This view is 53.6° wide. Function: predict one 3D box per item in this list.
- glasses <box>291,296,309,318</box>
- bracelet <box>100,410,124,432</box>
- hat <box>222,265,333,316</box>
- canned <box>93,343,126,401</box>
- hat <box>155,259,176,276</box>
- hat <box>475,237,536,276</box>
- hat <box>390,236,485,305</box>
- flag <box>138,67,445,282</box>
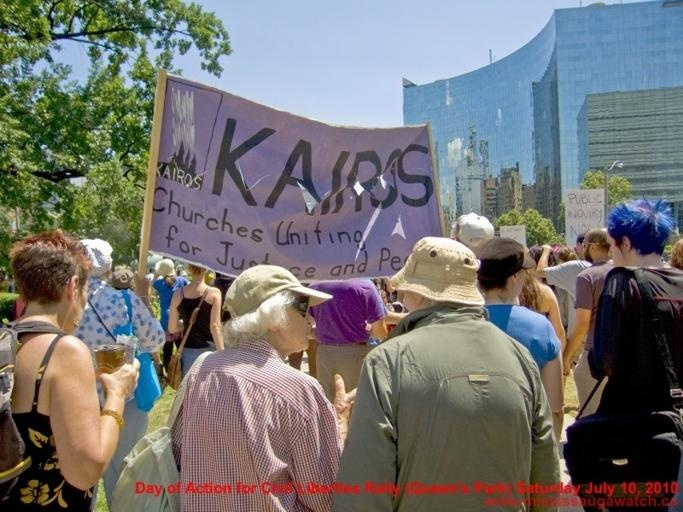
[{"bbox_3d":[-0.251,0.309,4.309,0.102,0.139,0.096,5,4,25],"label":"glasses"},{"bbox_3d":[-1.446,1.044,4.305,0.117,0.053,0.122,6,-36,-3],"label":"bracelet"},{"bbox_3d":[-0.437,0.197,4.274,0.499,0.297,0.348,-2,-1,-11],"label":"hat"},{"bbox_3d":[-1.560,0.740,4.575,0.173,0.328,0.193,1,9,12],"label":"canned"},{"bbox_3d":[-2.524,0.133,9.777,0.268,0.329,0.138,-3,-40,-31],"label":"hat"},{"bbox_3d":[1.176,-0.027,4.905,0.317,0.189,0.251,-9,9,-18],"label":"hat"},{"bbox_3d":[0.625,0.096,4.314,0.421,0.263,0.463,13,2,13],"label":"hat"},{"bbox_3d":[-0.439,-0.529,5.666,2.211,1.635,0.158,6,-9,-27],"label":"flag"}]
